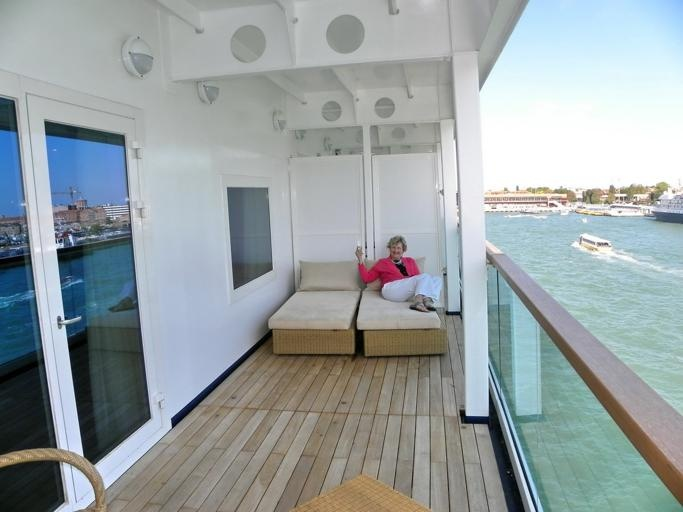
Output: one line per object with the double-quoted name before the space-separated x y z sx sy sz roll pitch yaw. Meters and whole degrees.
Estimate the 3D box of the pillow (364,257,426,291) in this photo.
"pillow" 0.700 0.234 6.565 0.598 0.261 0.495 -2 8 10

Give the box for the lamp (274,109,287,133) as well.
"lamp" -0.885 -1.956 6.507 0.086 0.256 0.190 -5 -9 12

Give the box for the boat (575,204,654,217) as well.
"boat" 12.888 -2.111 21.370 0.711 0.542 3.672 -4 7 -21

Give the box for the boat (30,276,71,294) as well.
"boat" -1.813 0.177 2.794 0.099 0.147 0.384 1 2 -10

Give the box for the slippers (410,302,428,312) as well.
"slippers" 0.956 0.625 5.546 0.152 0.065 0.101 1 1 22

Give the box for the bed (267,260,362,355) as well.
"bed" -0.253 0.623 6.299 1.047 0.912 1.793 -1 10 10

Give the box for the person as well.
"person" 0.892 0.229 6.276 0.915 1.003 1.128 3 -6 -36

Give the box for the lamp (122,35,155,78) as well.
"lamp" -1.592 -1.557 3.519 0.102 0.301 0.261 0 10 13

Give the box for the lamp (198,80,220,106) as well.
"lamp" -1.339 -1.650 4.569 0.160 0.197 0.300 -2 10 2
